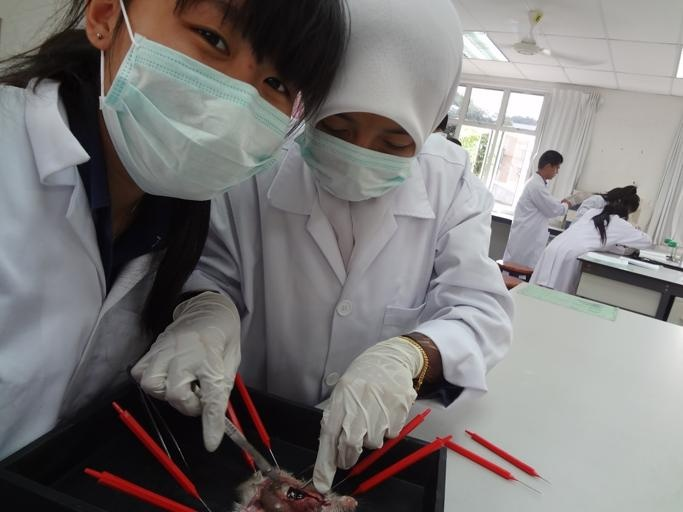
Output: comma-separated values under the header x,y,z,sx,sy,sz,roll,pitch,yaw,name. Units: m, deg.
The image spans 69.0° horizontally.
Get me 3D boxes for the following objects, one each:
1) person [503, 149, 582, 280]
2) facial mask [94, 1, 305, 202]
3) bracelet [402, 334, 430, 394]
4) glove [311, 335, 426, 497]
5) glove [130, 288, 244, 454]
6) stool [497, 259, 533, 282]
x,y,z,sx,sy,sz,roll,pitch,yaw,name
2.365,-0.391,5.986,0.502,1.764,0.498,4,27,-1,person
-0.326,-0.276,1.044,0.305,0.230,0.398,22,27,-47,facial mask
0.195,0.264,1.214,0.041,0.109,0.079,23,5,-44,bracelet
0.067,0.313,1.100,0.131,0.105,0.385,27,56,8,glove
-0.362,0.255,1.167,0.220,0.134,0.441,4,32,-11,glove
1.591,0.131,4.469,0.156,0.200,0.152,12,15,42,stool
